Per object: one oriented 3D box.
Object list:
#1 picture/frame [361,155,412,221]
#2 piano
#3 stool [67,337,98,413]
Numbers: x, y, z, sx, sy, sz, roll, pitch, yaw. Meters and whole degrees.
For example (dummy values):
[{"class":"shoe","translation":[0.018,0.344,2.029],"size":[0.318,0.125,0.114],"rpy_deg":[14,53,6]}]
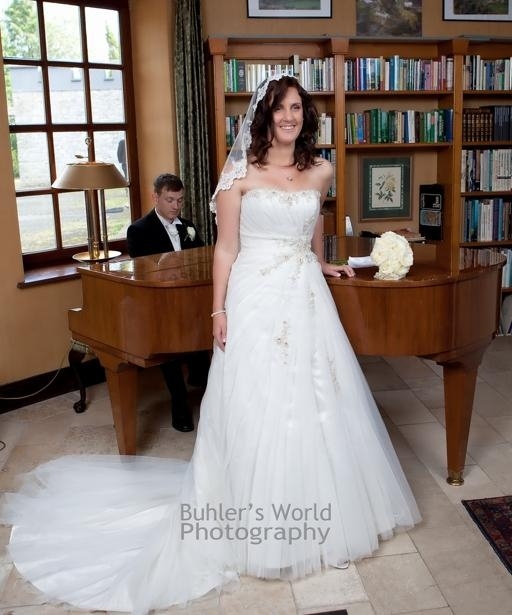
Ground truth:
[{"class":"picture/frame","translation":[1.215,-1.156,4.868],"size":[0.611,0.697,0.047],"rpy_deg":[-1,6,-10]},{"class":"piano","translation":[0.106,0.025,2.273],"size":[1.445,0.754,1.309],"rpy_deg":[8,11,34]},{"class":"stool","translation":[-1.106,0.429,3.276],"size":[0.186,0.494,0.144],"rpy_deg":[3,-7,32]}]
